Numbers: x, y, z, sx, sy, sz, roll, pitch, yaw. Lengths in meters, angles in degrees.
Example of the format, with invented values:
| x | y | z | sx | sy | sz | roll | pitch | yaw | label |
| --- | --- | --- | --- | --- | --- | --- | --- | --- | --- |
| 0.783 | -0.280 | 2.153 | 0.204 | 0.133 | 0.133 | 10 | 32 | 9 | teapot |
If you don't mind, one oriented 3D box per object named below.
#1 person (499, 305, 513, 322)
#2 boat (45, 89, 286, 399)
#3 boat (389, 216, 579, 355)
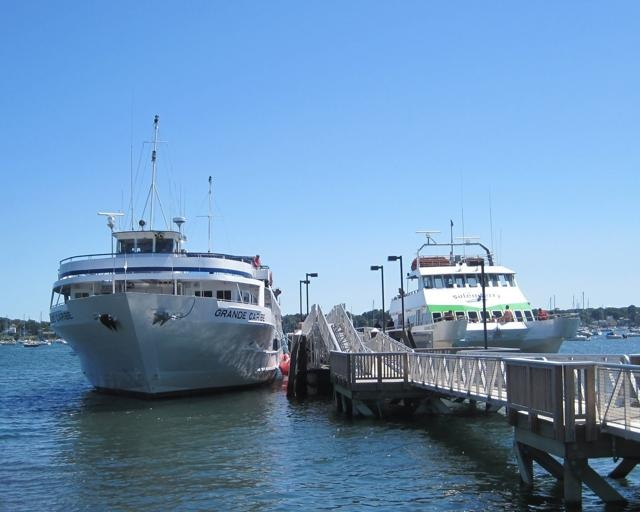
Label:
| x | y | z | sx | sy | sz | roll | pitch | yaw | label |
| --- | --- | --- | --- | --- | --- | --- | --- | --- | --- |
| 12.218 | 3.878 | 44.889 | 1.070 | 1.302 | 0.772 | 2 | -1 | -18 | person |
| -7.563 | -0.361 | 34.497 | 10.154 | 15.635 | 9.333 | -2 | -2 | -6 | boat |
| 12.624 | 3.112 | 48.457 | 8.070 | 9.608 | 21.808 | -1 | -7 | -4 | boat |
